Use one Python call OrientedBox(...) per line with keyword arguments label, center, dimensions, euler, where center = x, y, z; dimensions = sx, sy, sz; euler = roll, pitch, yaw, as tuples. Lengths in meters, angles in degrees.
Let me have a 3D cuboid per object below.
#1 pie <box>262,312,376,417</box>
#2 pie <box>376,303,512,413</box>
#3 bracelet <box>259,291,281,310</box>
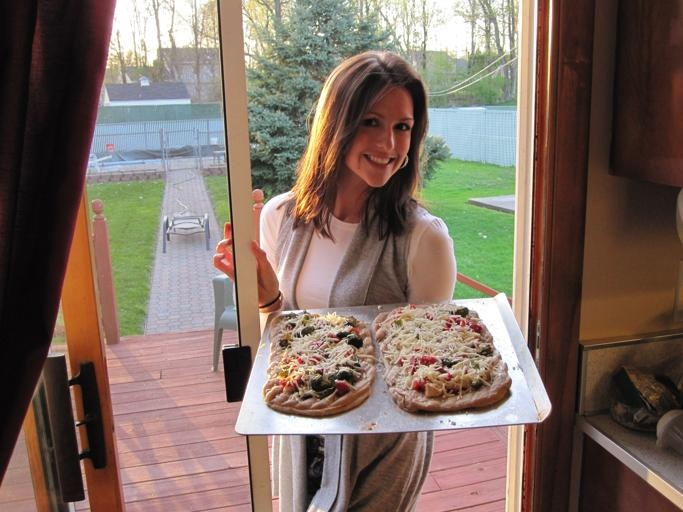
OrientedBox(label="pie", center=(-0.063, 0.299, 1.604), dimensions=(0.306, 0.075, 0.517), euler=(0, 20, -2))
OrientedBox(label="pie", center=(0.275, 0.281, 1.613), dimensions=(0.348, 0.144, 0.446), euler=(-3, 12, -1))
OrientedBox(label="bracelet", center=(-0.230, 0.141, 1.806), dimensions=(0.053, 0.014, 0.057), euler=(-30, 9, -7))
